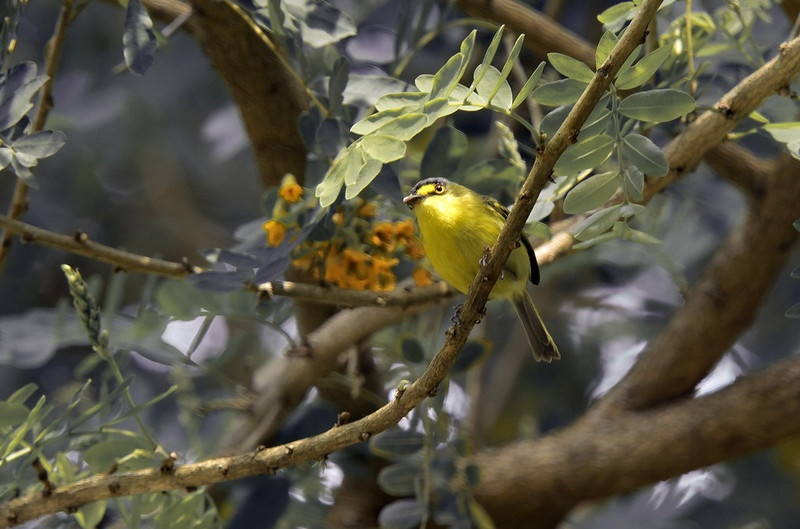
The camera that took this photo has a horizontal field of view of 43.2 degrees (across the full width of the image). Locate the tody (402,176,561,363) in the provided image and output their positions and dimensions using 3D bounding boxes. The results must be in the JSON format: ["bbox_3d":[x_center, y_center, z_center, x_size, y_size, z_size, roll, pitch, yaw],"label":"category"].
[{"bbox_3d":[0.345,-0.001,4.625,0.484,1.129,0.434,-34,43,17],"label":"tody"}]
